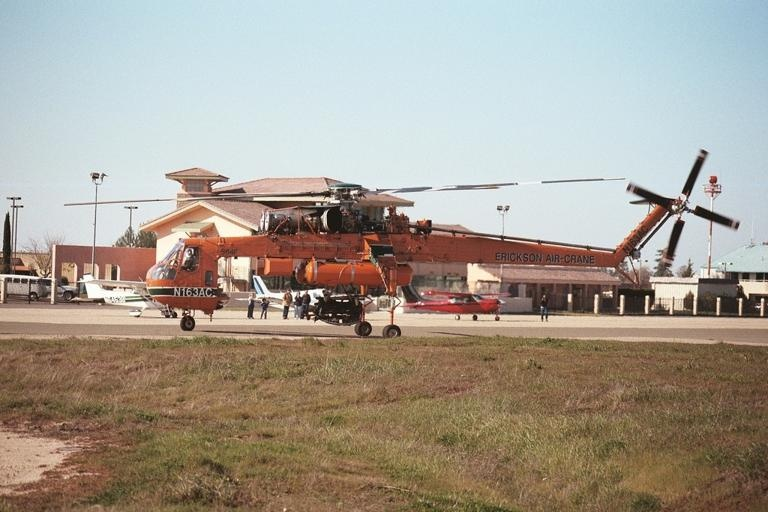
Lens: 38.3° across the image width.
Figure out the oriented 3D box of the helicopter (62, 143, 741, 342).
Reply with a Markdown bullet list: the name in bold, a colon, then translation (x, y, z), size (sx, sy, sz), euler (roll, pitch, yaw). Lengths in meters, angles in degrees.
- **helicopter**: translation (0.226, 0.966, 52.199), size (35.041, 8.374, 8.565), euler (0, -2, -2)

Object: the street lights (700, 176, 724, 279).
- **street lights**: translation (15.176, -1.439, 51.214), size (0.895, 4.513, 0.874), euler (6, -7, -2)

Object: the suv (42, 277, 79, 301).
- **suv**: translation (-20.423, 2.216, 69.577), size (2.550, 1.135, 1.509), euler (1, 5, -18)
